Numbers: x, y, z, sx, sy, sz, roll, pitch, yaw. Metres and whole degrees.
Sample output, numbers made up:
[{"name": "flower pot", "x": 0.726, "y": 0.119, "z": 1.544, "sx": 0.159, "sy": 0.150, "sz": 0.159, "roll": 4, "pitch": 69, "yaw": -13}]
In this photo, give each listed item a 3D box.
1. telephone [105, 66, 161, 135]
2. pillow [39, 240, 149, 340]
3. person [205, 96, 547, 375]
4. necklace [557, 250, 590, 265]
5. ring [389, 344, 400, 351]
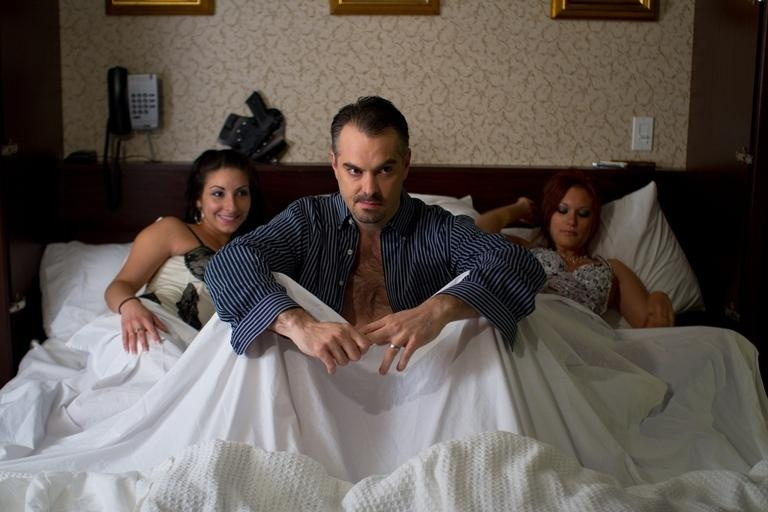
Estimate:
[{"name": "telephone", "x": -1.344, "y": -0.833, "z": 3.053, "sx": 0.137, "sy": 0.392, "sz": 0.373, "roll": -6, "pitch": 26, "yaw": -41}, {"name": "pillow", "x": -1.439, "y": 0.154, "z": 2.774, "sx": 0.361, "sy": 0.443, "sz": 0.114, "roll": -1, "pitch": -21, "yaw": 7}, {"name": "person", "x": -0.045, "y": -0.044, "z": 2.126, "sx": 1.093, "sy": 1.082, "sz": 0.866, "roll": 1, "pitch": 7, "yaw": -7}, {"name": "necklace", "x": 0.922, "y": 0.015, "z": 2.788, "sx": 0.109, "sy": 0.044, "sz": 0.088, "roll": 4, "pitch": 48, "yaw": -17}, {"name": "ring", "x": 0.033, "y": 0.289, "z": 1.809, "sx": 0.035, "sy": 0.029, "sz": 0.026, "roll": 2, "pitch": 11, "yaw": -9}]
